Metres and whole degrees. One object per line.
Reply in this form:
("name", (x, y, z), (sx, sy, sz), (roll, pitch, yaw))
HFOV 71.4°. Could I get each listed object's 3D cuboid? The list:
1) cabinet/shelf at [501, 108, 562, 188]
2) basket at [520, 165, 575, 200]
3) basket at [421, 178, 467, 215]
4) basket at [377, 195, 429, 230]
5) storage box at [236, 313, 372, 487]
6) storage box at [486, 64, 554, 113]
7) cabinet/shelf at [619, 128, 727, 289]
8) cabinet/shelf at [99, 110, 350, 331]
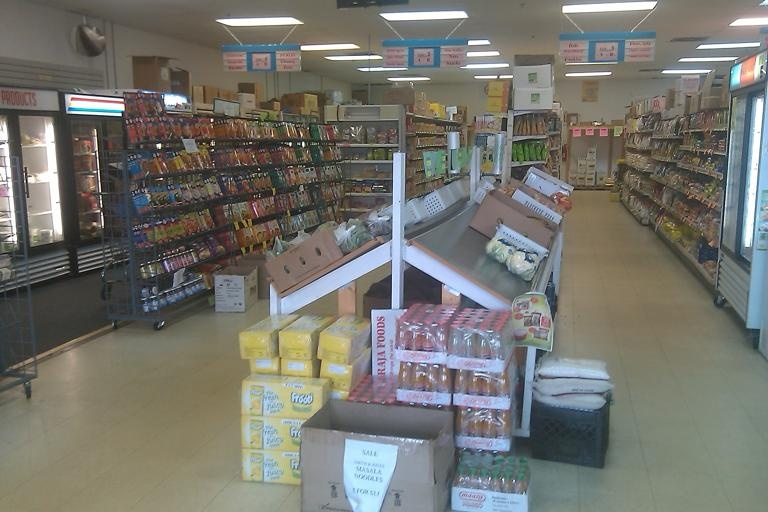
("cabinet/shelf", (3.147, -2.120, 10.231), (1.030, 1.622, 4.017), (2, 11, 19))
("basket", (2.257, -0.894, 7.452), (0.640, 0.224, 0.456), (33, 29, 12))
("basket", (0.629, -0.614, 5.463), (0.180, 0.244, 1.264), (5, 18, 20))
("basket", (0.168, -0.376, 4.812), (0.447, 0.229, 0.493), (0, 17, 1))
("storage box", (-0.601, 0.937, 4.573), (0.998, 1.357, 1.390), (6, 11, 20))
("storage box", (2.347, -2.635, 8.412), (0.626, 0.711, 0.270), (2, 15, 10))
("cabinet/shelf", (5.977, -1.465, 11.290), (0.698, 2.690, 8.669), (5, 18, 19))
("cabinet/shelf", (-2.798, -1.168, 9.223), (2.440, 2.706, 5.997), (3, 17, 14))
